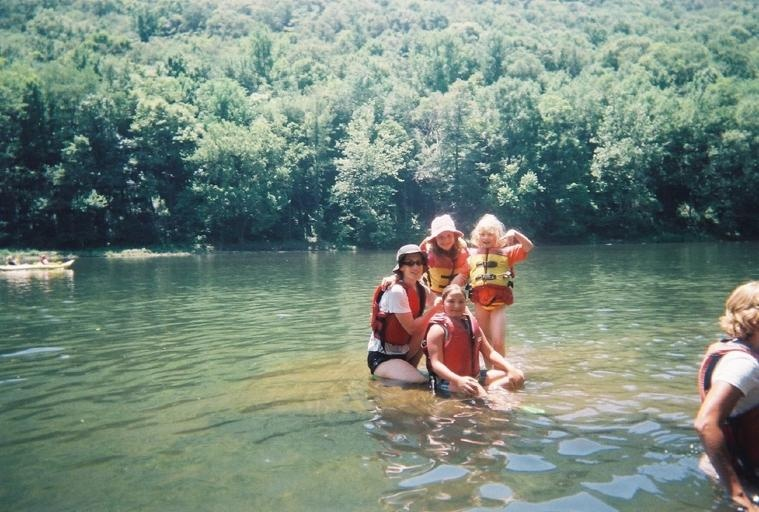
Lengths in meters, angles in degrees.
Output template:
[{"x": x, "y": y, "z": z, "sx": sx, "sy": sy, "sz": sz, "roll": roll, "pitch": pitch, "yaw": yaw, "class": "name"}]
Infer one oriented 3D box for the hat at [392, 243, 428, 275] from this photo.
[{"x": 0.464, "y": -0.027, "z": 11.014, "sx": 0.610, "sy": 0.286, "sz": 0.583, "roll": 2, "pitch": -14, "yaw": -34, "class": "hat"}]
